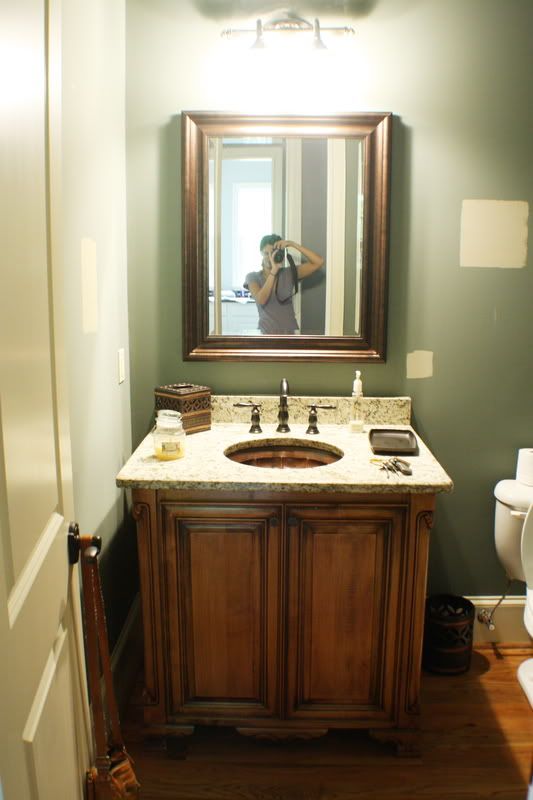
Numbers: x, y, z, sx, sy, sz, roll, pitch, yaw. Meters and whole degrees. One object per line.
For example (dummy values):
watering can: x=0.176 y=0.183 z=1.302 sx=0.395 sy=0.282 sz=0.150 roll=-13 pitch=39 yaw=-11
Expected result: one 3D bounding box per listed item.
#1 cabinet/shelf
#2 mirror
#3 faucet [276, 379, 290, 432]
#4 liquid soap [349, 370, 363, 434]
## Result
cabinet/shelf: x=0.037 y=0.548 z=1.768 sx=0.567 sy=0.637 sz=0.239 roll=0 pitch=10 yaw=3
mirror: x=0.080 y=-0.592 z=2.187 sx=0.705 sy=0.982 sz=0.063 roll=0 pitch=10 yaw=-1
faucet: x=0.059 y=0.015 z=2.129 sx=0.045 sy=0.171 sz=0.107 roll=0 pitch=10 yaw=0
liquid soap: x=0.314 y=-0.004 z=2.216 sx=0.046 sy=0.190 sz=0.192 roll=1 pitch=10 yaw=10
